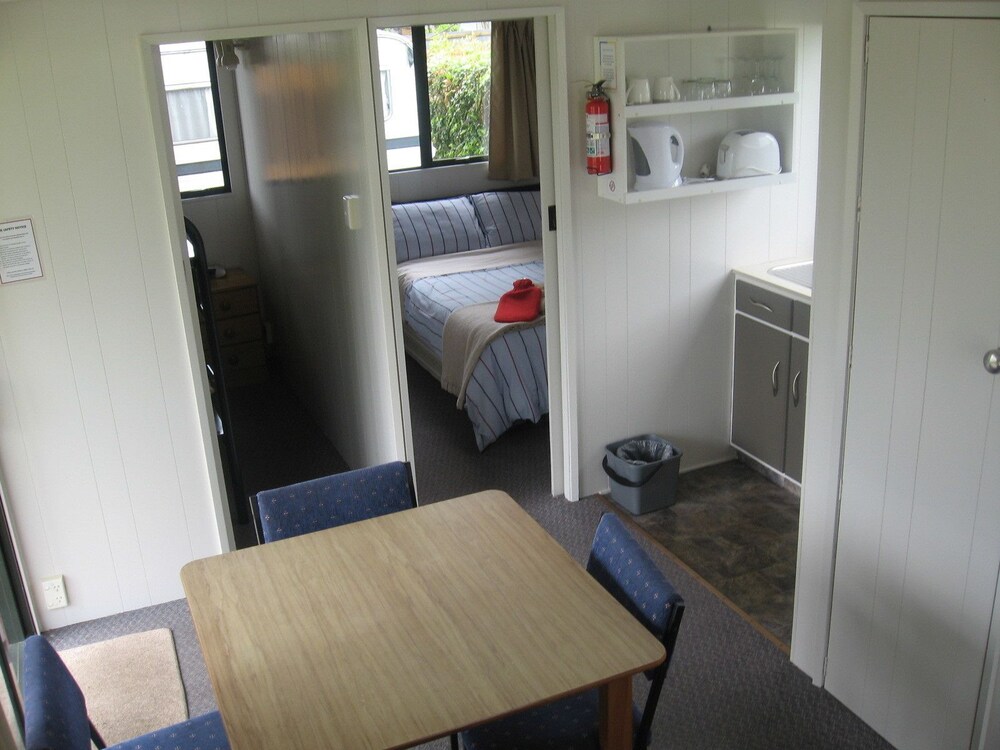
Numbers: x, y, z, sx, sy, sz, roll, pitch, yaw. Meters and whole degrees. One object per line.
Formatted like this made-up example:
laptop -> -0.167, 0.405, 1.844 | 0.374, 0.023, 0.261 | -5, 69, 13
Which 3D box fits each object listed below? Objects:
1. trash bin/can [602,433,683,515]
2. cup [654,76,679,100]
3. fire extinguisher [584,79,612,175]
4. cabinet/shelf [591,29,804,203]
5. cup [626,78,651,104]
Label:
trash bin/can -> 0.788, 0.560, 4.177 | 0.413, 0.326, 0.424 | -1, 21, 7
cup -> 0.806, -1.387, 3.667 | 0.121, 0.126, 0.080 | -10, 15, -39
fire extinguisher -> 0.480, -1.188, 3.677 | 0.134, 0.445, 0.113 | -3, 17, 9
cabinet/shelf -> 1.018, -1.274, 3.729 | 0.869, 0.698, 0.256 | -5, 21, -3
cup -> 0.652, -1.372, 3.656 | 0.119, 0.095, 0.080 | -13, 31, -12
